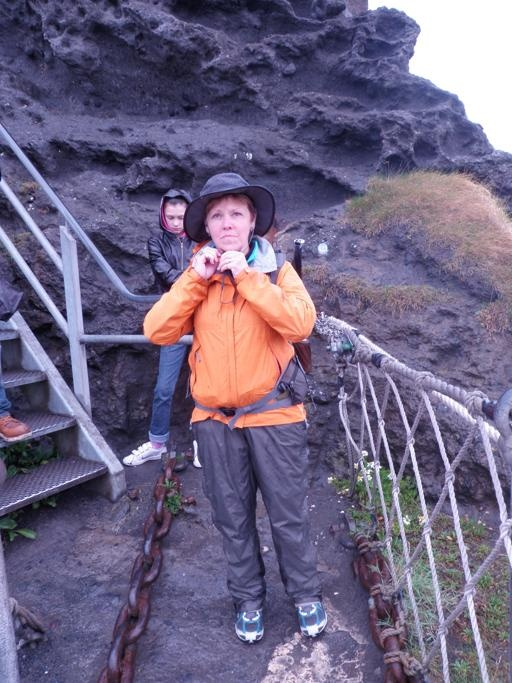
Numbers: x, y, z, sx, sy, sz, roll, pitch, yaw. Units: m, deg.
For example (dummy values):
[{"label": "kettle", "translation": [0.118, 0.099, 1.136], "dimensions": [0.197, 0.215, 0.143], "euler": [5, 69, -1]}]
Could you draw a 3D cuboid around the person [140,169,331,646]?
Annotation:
[{"label": "person", "translation": [-0.033, 0.324, 2.533], "dimensions": [0.890, 2.066, 0.379], "euler": [8, 12, 18]}]

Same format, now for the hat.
[{"label": "hat", "translation": [-0.145, -0.573, 2.519], "dimensions": [0.316, 0.344, 0.138], "euler": [-4, 55, -12]}]

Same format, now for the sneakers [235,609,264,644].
[{"label": "sneakers", "translation": [-0.032, 1.272, 2.584], "dimensions": [0.095, 0.082, 0.176], "euler": [4, 25, -4]}]

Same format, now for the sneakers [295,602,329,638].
[{"label": "sneakers", "translation": [0.254, 1.244, 2.584], "dimensions": [0.107, 0.196, 0.083], "euler": [-5, -10, 13]}]
